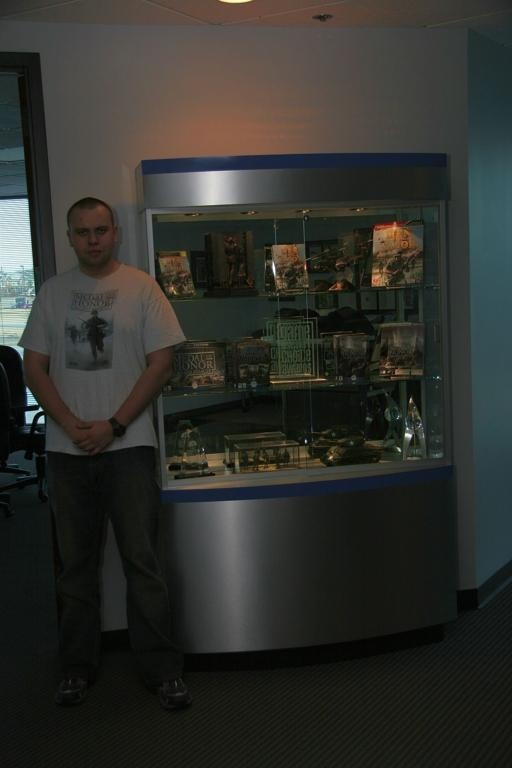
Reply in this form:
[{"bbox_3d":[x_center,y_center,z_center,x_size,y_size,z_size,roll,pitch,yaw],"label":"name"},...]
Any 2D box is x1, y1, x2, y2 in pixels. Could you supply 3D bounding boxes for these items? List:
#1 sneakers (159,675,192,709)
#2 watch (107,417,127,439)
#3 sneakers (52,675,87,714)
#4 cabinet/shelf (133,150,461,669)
[{"bbox_3d":[-0.278,1.053,2.083,0.112,0.060,0.086,-2,0,-9],"label":"sneakers"},{"bbox_3d":[-0.471,0.151,2.075,0.062,0.070,0.049,-13,25,-32],"label":"watch"},{"bbox_3d":[-0.641,1.056,2.085,0.059,0.044,0.122,0,-1,-3],"label":"sneakers"},{"bbox_3d":[0.202,0.094,2.619,1.145,1.937,0.696,-3,9,2],"label":"cabinet/shelf"}]
